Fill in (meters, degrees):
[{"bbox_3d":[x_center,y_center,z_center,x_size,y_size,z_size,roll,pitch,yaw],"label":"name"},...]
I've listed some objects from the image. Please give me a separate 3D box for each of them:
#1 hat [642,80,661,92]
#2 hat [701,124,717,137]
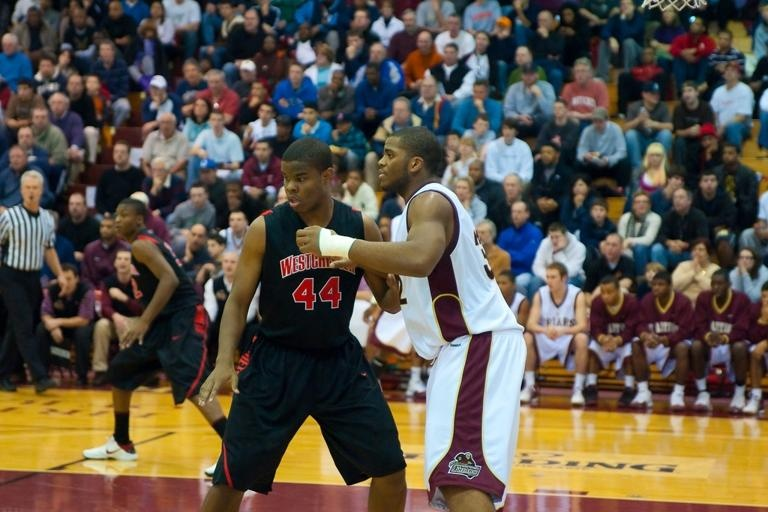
[{"bbox_3d":[4.065,-2.561,17.154,0.240,0.153,0.186,-12,0,24],"label":"hat"},{"bbox_3d":[4.765,-1.870,16.647,0.249,0.255,0.218,-1,-7,23],"label":"hat"}]
